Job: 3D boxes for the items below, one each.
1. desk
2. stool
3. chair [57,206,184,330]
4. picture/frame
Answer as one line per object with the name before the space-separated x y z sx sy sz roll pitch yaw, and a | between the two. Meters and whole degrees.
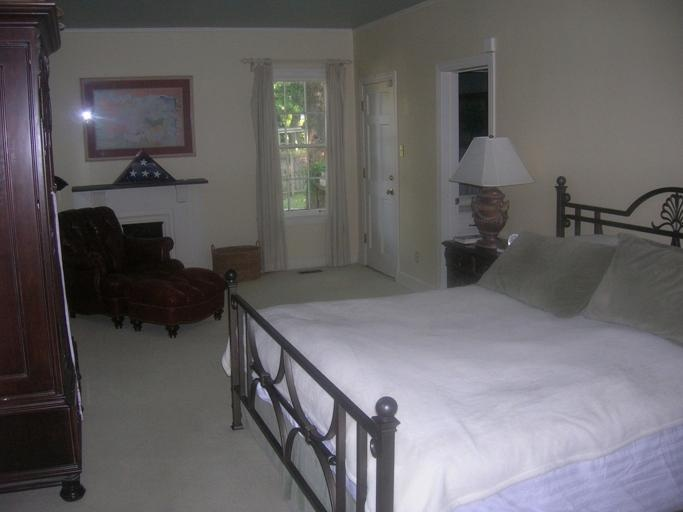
desk | 1.108 0.047 4.596 0.402 0.588 0.574 -4 11 -20
stool | -1.638 0.442 5.331 0.802 0.459 0.864 -3 17 -5
chair | -2.340 0.109 5.496 1.129 1.156 1.140 -1 11 -3
picture/frame | -2.660 -1.791 6.714 1.016 0.843 0.037 -3 12 -11
